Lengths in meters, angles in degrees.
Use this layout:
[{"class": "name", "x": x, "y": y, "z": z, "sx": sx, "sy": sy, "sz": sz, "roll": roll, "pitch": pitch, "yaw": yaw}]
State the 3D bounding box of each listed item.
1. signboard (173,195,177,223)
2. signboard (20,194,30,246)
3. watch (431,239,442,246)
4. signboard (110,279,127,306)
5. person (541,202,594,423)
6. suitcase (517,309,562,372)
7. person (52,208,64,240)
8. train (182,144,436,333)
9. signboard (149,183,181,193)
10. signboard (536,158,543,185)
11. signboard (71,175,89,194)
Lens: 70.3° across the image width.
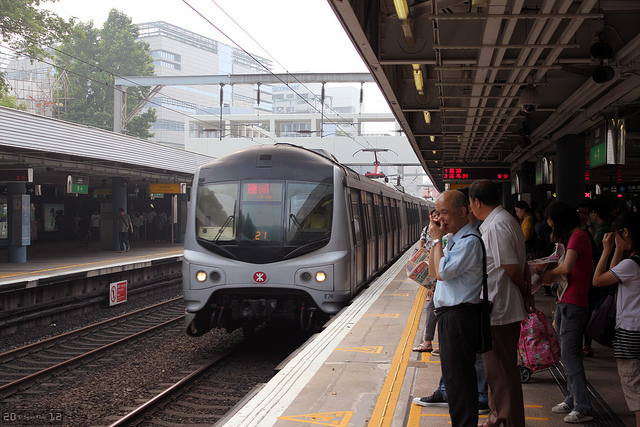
[{"class": "signboard", "x": -9.639, "y": -0.277, "z": 30.090, "sx": 0.282, "sy": 1.863, "sz": 1.921, "roll": -2, "pitch": 1, "yaw": -19}, {"class": "signboard", "x": -11.744, "y": 0.277, "z": 18.294, "sx": 0.405, "sy": 2.037, "sz": 0.284, "roll": 0, "pitch": 0, "yaw": 15}, {"class": "watch", "x": 1.095, "y": 0.275, "z": 4.267, "sx": 0.065, "sy": 0.066, "sz": 0.069, "roll": -30, "pitch": 18, "yaw": 31}, {"class": "signboard", "x": -7.095, "y": 2.825, "z": 15.928, "sx": 1.087, "sy": 0.771, "sz": 0.040, "roll": -15, "pitch": -16, "yaw": 33}, {"class": "person", "x": 2.742, "y": 1.052, "z": 5.030, "sx": 0.483, "sy": 2.330, "sz": 0.779, "roll": 0, "pitch": 2, "yaw": 30}, {"class": "suitcase", "x": 2.480, "y": 1.496, "z": 5.265, "sx": 0.504, "sy": 0.691, "sz": 0.371, "roll": -3, "pitch": -9, "yaw": -38}, {"class": "person", "x": -18.872, "y": 0.791, "z": 32.706, "sx": 0.580, "sy": 2.298, "sz": 0.824, "roll": -1, "pitch": 1, "yaw": 0}, {"class": "train", "x": -0.244, "y": 0.725, "z": 11.317, "sx": 2.981, "sy": 4.402, "sz": 6.116, "roll": -1, "pitch": 1, "yaw": 18}, {"class": "signboard", "x": -9.316, "y": -1.528, "z": 27.320, "sx": 1.854, "sy": 0.530, "sz": 0.460, "roll": -1, "pitch": 1, "yaw": 10}, {"class": "signboard", "x": 8.744, "y": -1.655, "z": 18.079, "sx": 0.134, "sy": 0.949, "sz": 0.812, "roll": -1, "pitch": 1, "yaw": 19}, {"class": "signboard", "x": -11.431, "y": -1.376, "z": 21.505, "sx": 0.126, "sy": 0.707, "sz": 1.009, "roll": -1, "pitch": 0, "yaw": 17}]
